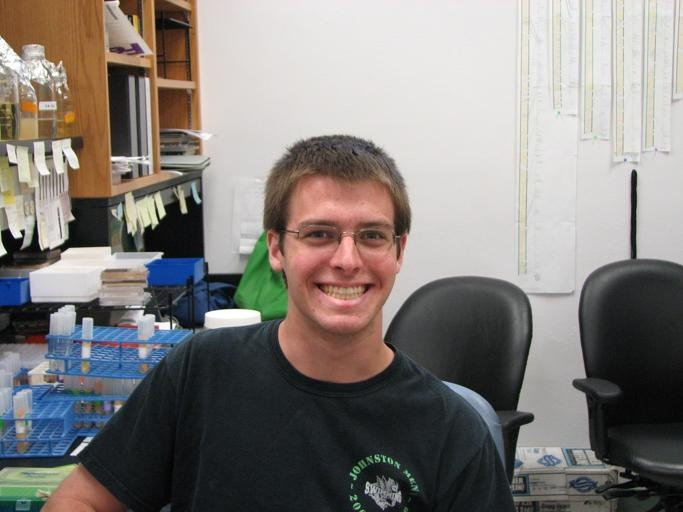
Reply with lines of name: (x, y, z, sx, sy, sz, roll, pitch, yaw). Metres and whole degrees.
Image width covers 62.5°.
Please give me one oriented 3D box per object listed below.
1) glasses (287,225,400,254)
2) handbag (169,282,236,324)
glasses: (0.008, -0.034, 1.120, 0.188, 0.059, 0.037, -1, 4, -7)
handbag: (-0.692, 0.200, 2.847, 0.227, 0.093, 0.238, -2, 4, 0)
